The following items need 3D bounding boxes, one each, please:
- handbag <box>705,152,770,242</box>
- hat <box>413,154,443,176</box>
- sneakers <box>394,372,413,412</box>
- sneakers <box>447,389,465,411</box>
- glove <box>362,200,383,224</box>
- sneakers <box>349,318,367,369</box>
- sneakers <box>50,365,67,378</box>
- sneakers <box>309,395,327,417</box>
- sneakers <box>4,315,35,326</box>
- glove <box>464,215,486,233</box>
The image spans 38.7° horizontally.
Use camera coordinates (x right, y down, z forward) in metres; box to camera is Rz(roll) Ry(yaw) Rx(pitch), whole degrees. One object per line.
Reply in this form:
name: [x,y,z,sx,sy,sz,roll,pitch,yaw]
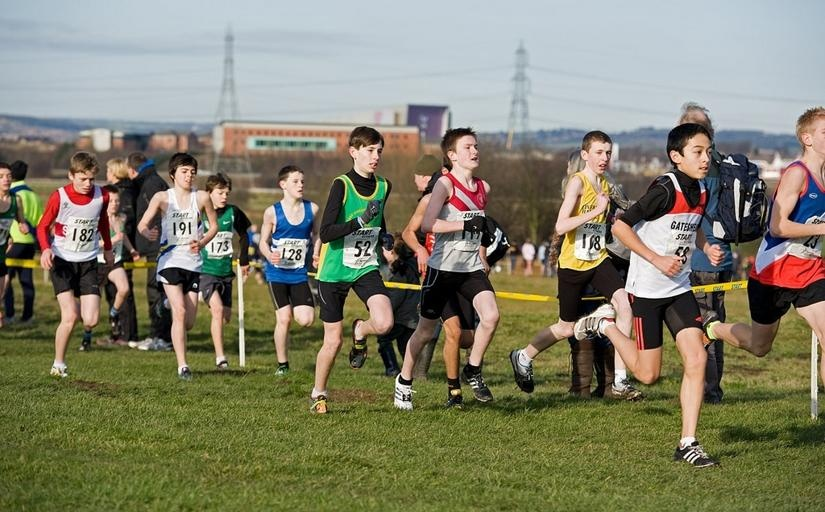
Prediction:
handbag: [4.433,-0.729,15.786,0.720,1.056,0.740,7,8,30]
hat: [0.241,-1.337,17.487,0.350,0.235,0.341,-5,3,-1]
sneakers: [-0.094,1.856,15.813,0.197,0.535,0.247,-2,-9,-31]
sneakers: [0.588,1.930,15.819,0.230,0.227,0.387,2,14,1]
glove: [-0.517,-0.544,14.881,0.186,0.318,0.085,38,2,11]
sneakers: [-0.720,1.274,16.276,0.234,0.283,0.688,7,46,1]
sneakers: [-5.046,1.663,16.740,0.366,0.163,0.136,-1,2,35]
sneakers: [-1.194,1.963,15.392,0.259,0.239,0.256,-3,15,-19]
sneakers: [-7.576,1.275,22.575,0.634,0.256,0.208,7,-1,-2]
glove: [0.839,-0.390,15.165,0.237,0.226,0.326,8,15,24]
